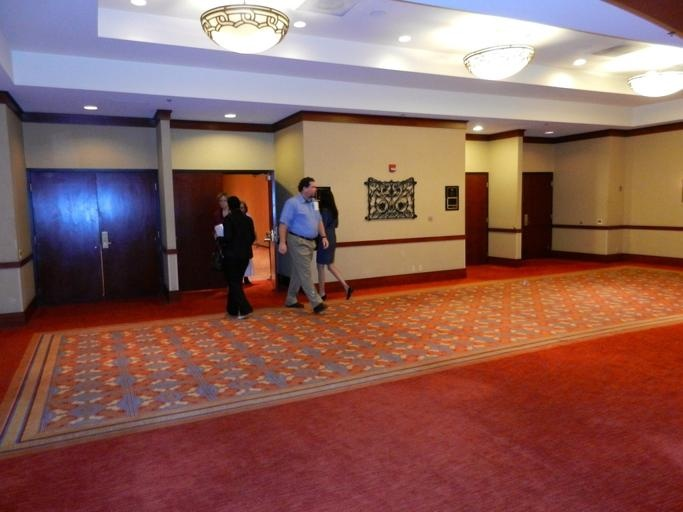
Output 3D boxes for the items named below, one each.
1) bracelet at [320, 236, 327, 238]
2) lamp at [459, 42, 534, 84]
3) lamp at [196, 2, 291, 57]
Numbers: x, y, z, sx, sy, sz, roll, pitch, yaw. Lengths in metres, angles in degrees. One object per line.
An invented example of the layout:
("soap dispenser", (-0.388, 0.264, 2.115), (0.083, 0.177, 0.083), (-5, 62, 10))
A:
("bracelet", (-0.295, -0.316, 7.376), (0.063, 0.043, 0.060), (2, -5, -19))
("lamp", (2.452, -3.027, 6.863), (0.696, 0.276, 0.727), (-7, 0, 5))
("lamp", (-1.120, -2.729, 5.212), (0.721, 0.245, 0.733), (-4, 10, -20))
